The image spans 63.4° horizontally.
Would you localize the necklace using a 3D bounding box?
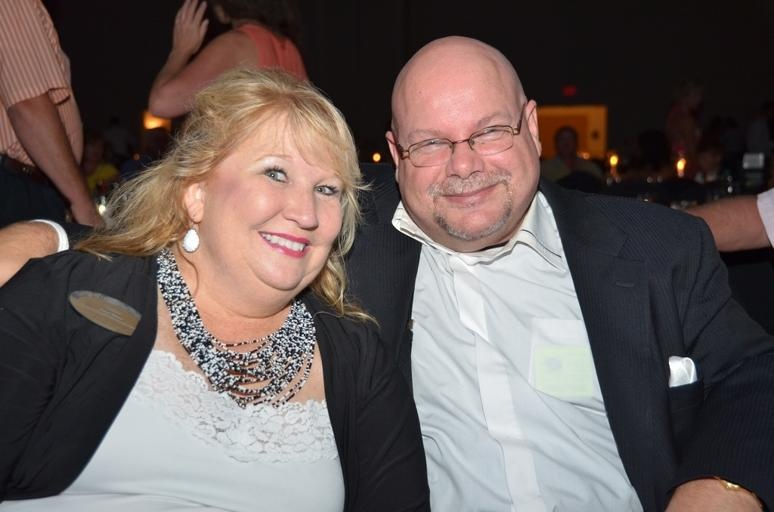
[{"bbox_3d":[-0.581,0.318,2.357,0.495,0.644,0.132,-31,2,-38],"label":"necklace"}]
